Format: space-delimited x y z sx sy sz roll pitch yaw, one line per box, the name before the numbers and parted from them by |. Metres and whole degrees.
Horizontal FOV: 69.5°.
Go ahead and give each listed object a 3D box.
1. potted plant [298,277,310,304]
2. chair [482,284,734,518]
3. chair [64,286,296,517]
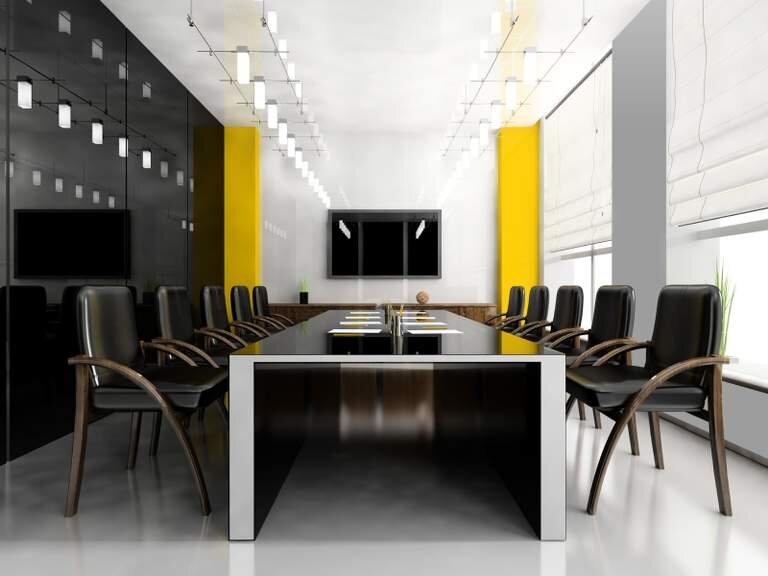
potted plant | -1.115 0.063 7.643 0.146 0.298 0.411 -2 12 -9
chair | 1.421 0.687 4.051 1.171 1.915 1.344 1 -3 0
chair | -1.294 0.662 3.999 1.116 1.881 1.256 0 -2 0
